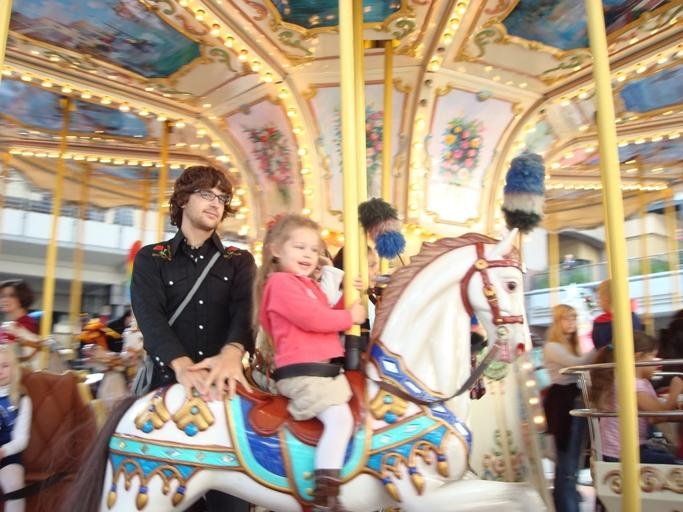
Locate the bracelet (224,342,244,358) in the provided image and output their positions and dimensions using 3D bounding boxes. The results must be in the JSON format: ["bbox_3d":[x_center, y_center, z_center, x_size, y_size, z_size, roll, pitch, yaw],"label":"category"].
[{"bbox_3d":[-0.528,0.463,2.695,0.082,0.068,0.053,-4,31,13],"label":"bracelet"}]

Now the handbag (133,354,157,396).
[{"bbox_3d":[-1.026,0.620,2.840,0.084,0.216,0.174,8,0,-33],"label":"handbag"}]
